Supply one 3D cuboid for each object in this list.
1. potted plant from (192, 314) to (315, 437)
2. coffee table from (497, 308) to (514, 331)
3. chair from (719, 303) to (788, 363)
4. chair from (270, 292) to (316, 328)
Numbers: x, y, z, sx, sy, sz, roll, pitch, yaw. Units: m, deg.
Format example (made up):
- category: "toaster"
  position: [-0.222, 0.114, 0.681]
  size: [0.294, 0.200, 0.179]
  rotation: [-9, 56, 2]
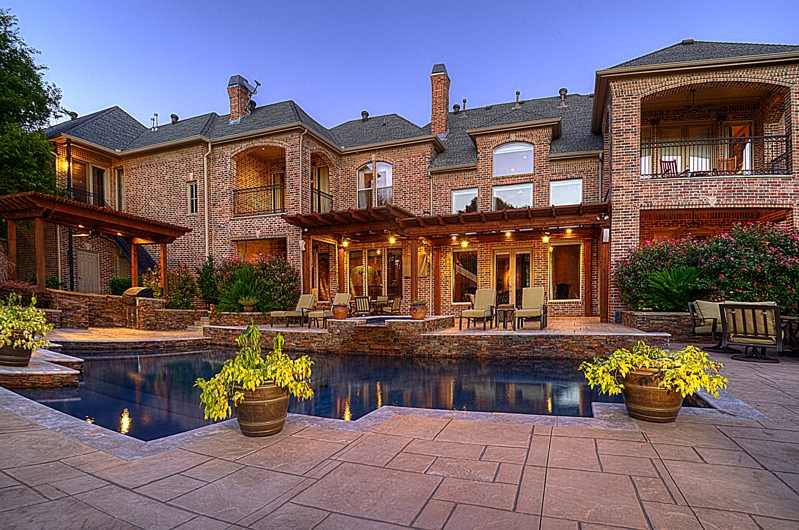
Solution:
- category: "potted plant"
  position: [-3.455, 2.604, 13.582]
  size: [2.526, 2.506, 2.685]
  rotation: [0, -4, -6]
- category: "coffee table"
  position: [3.956, 1.974, 19.842]
  size: [0.745, 1.086, 0.782]
  rotation: [-1, -8, 1]
- category: "chair"
  position: [10.609, 2.072, 16.098]
  size: [1.289, 1.772, 1.968]
  rotation: [-2, -20, 36]
- category: "chair"
  position: [-4.058, 1.787, 21.297]
  size: [1.075, 1.274, 1.628]
  rotation: [-5, -6, 43]
